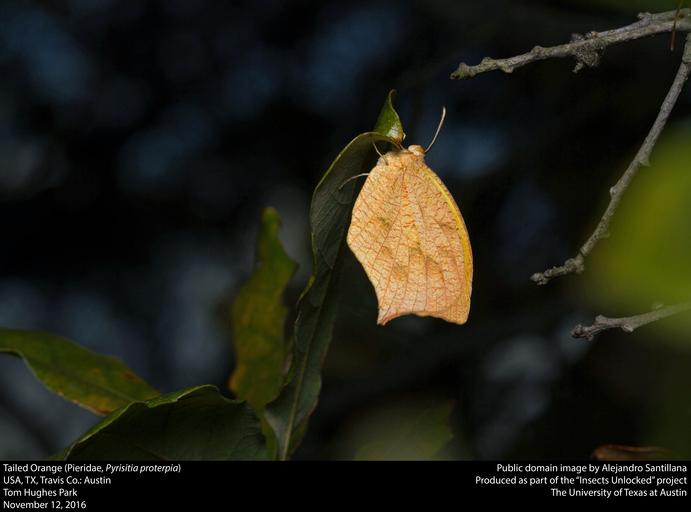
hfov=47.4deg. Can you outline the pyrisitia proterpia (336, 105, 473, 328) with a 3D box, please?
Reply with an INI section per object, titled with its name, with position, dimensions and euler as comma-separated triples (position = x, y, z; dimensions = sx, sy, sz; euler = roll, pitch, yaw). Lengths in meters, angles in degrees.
[pyrisitia proterpia]
position = 0.107, -0.068, 1.556
dimensions = 0.343, 0.397, 0.163
euler = 2, -3, -39
